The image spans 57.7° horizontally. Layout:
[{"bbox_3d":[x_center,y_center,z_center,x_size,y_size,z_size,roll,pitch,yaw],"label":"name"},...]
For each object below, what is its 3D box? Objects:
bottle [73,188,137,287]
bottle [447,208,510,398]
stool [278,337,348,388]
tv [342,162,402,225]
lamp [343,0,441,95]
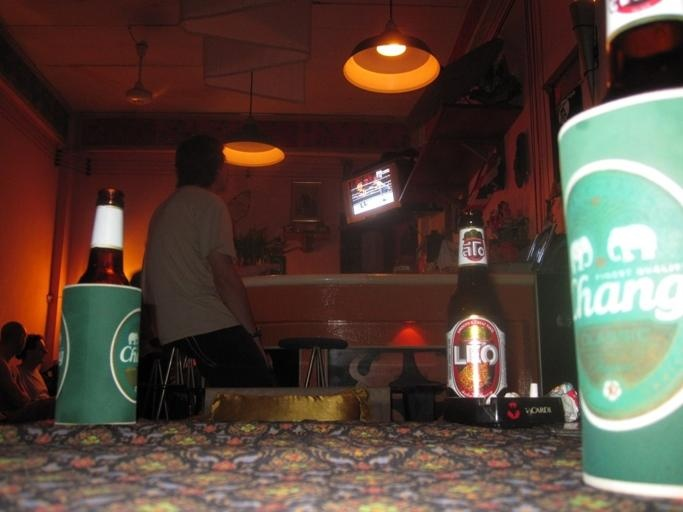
[{"bbox_3d":[-0.284,-0.030,0.747,0.053,0.145,0.147,1,-9,-19],"label":"bottle"},{"bbox_3d":[0.168,0.053,0.781,0.069,0.240,0.075,-2,-8,0],"label":"bottle"},{"bbox_3d":[-0.102,0.426,2.356,0.257,0.188,0.265,1,-20,-4],"label":"stool"},{"bbox_3d":[0.267,-0.575,5.689,0.210,0.405,0.790,2,-9,-23],"label":"tv"},{"bbox_3d":[0.303,-1.212,3.695,0.466,0.533,0.523,1,-17,4],"label":"lamp"}]
